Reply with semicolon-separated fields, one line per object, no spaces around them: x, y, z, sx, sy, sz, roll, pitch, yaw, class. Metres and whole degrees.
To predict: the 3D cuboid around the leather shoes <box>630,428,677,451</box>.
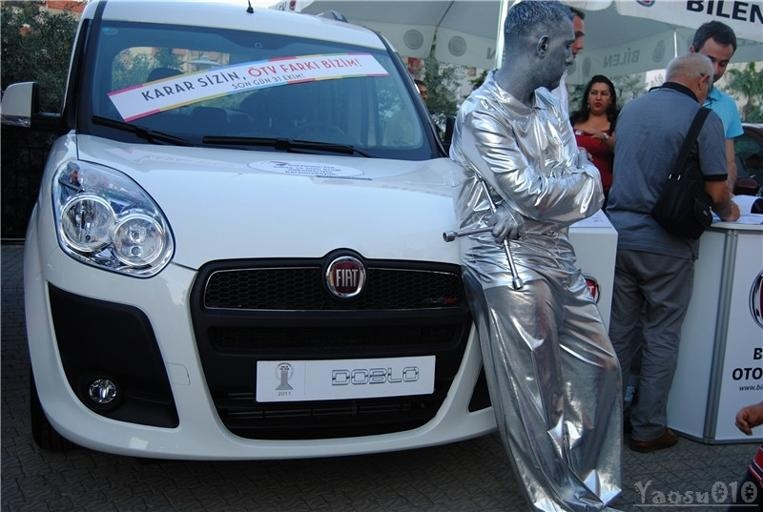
1.731;1.187;4.024;0.297;0.129;0.120;-7;14;-22;leather shoes

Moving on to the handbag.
1.855;-0.370;3.839;0.217;0.425;0.318;7;22;-38;handbag
